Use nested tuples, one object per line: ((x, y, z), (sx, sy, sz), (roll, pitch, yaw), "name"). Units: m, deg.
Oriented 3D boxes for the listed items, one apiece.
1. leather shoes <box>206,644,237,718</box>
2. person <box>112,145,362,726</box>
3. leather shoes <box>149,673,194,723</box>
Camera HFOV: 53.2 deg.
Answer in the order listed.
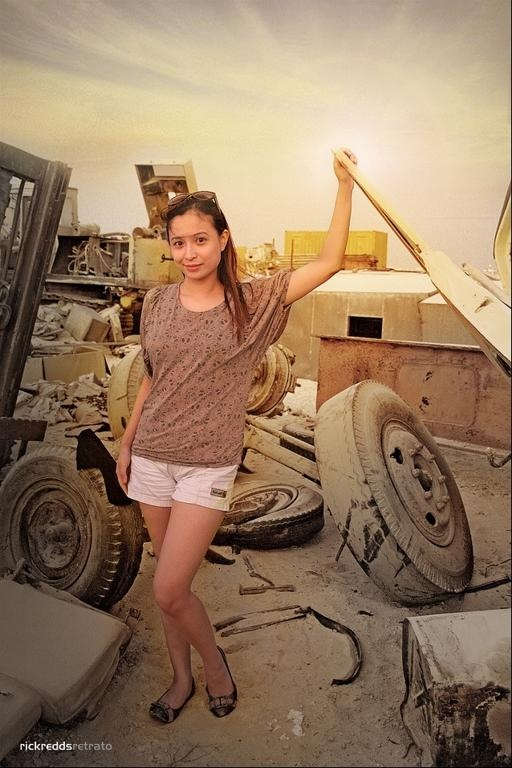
((-0.104, 0.862, 1.490), (0.073, 0.210, 0.031), (-9, 5, 1), "leather shoes")
((-0.075, 0.182, 1.469), (0.580, 1.588, 0.431), (-3, 10, -23), "person")
((-0.239, 0.924, 1.514), (0.073, 0.040, 0.152), (15, 50, 33), "leather shoes")
